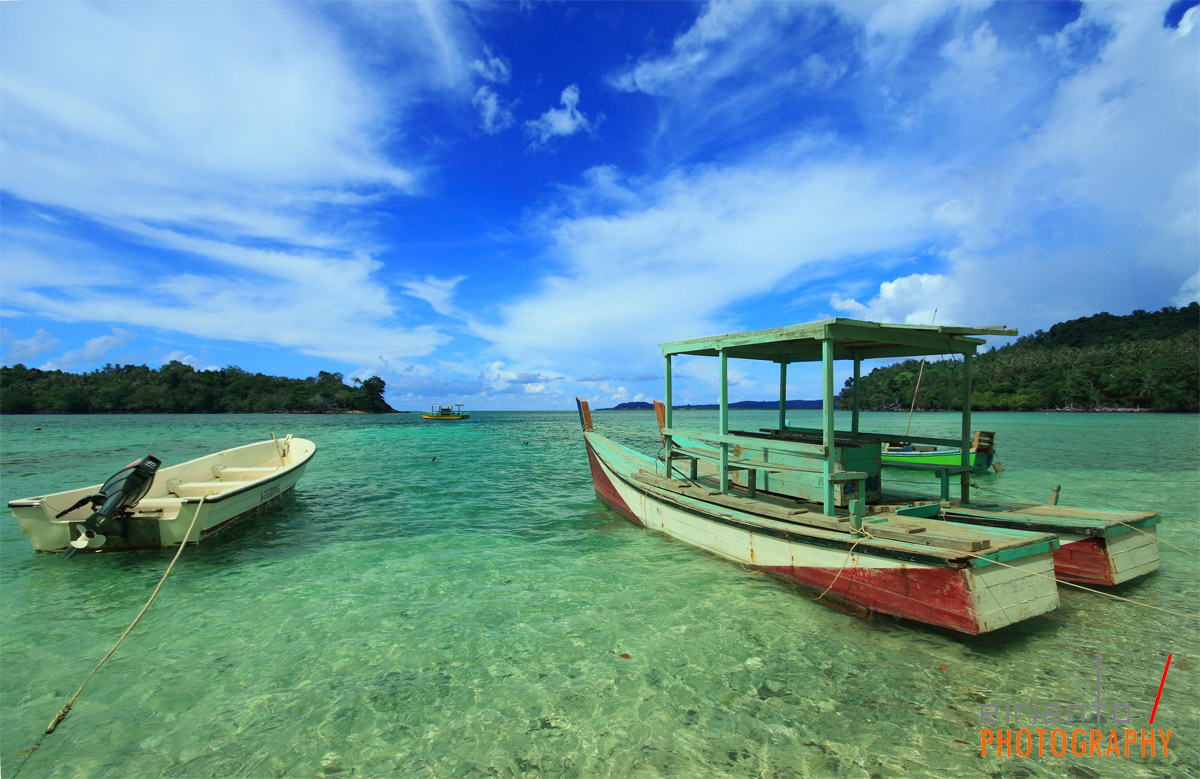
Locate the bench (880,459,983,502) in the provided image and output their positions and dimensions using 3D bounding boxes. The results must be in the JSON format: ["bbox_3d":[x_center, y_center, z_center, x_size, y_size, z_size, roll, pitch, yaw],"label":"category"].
[{"bbox_3d":[9.931,2.713,19.913,2.377,0.962,3.151,-1,-2,21],"label":"bench"}]

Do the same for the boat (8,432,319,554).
[{"bbox_3d":[-11.511,3.124,20.450,3.899,1.513,7.698,7,5,4],"label":"boat"}]
